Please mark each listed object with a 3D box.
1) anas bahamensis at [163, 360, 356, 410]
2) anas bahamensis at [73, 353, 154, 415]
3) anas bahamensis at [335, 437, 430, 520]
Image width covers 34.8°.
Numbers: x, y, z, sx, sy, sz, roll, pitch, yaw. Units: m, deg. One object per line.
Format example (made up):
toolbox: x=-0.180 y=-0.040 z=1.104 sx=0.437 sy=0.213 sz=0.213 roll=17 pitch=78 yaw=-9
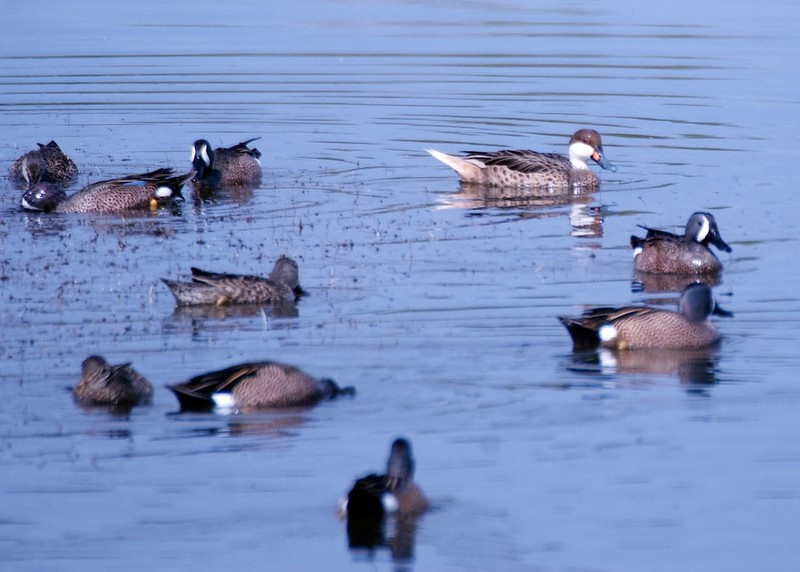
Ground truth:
anas bahamensis: x=-2.302 y=1.580 z=21.106 sx=2.970 sy=0.715 sz=0.851 roll=2 pitch=3 yaw=-12
anas bahamensis: x=-4.637 y=1.574 z=21.338 sx=1.308 sy=0.664 sz=0.883 roll=17 pitch=15 yaw=19
anas bahamensis: x=-0.188 y=2.728 z=18.484 sx=1.233 sy=1.152 sz=0.371 roll=-2 pitch=10 yaw=-3
